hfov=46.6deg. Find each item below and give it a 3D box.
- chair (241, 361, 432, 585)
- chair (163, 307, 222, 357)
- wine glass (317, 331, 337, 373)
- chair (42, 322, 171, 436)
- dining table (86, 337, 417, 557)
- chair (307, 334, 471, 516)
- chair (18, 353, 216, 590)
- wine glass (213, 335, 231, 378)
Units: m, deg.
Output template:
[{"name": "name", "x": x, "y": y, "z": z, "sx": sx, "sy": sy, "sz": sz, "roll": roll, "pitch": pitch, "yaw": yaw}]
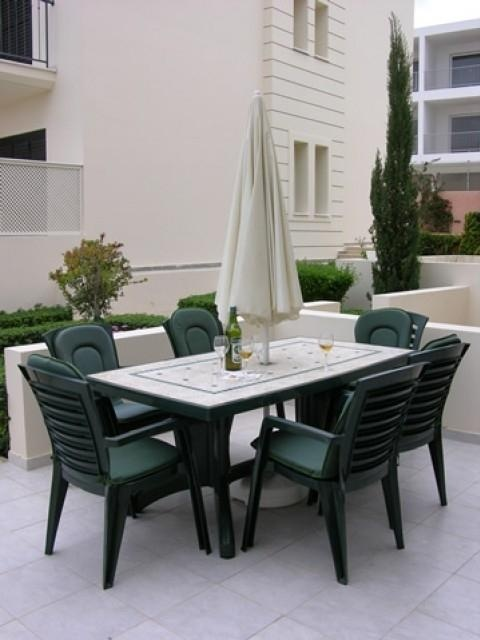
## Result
[{"name": "chair", "x": 0.386, "y": 0.565, "z": 2.340, "sx": 0.559, "sy": 0.862, "sz": 0.607, "roll": -7, "pitch": 12, "yaw": -36}, {"name": "chair", "x": -0.319, "y": 0.042, "z": 3.643, "sx": 0.286, "sy": 0.426, "sz": 0.324, "roll": -8, "pitch": 7, "yaw": -39}, {"name": "wine glass", "x": 0.450, "y": 0.175, "z": 2.922, "sx": 0.092, "sy": 0.246, "sz": 0.102, "roll": -8, "pitch": 18, "yaw": -21}, {"name": "chair", "x": -0.698, "y": 0.289, "z": 2.906, "sx": 0.565, "sy": 0.729, "sz": 0.522, "roll": 3, "pitch": 9, "yaw": 25}, {"name": "dining table", "x": 0.037, "y": 0.592, "z": 2.805, "sx": 1.315, "sy": 0.696, "sz": 0.713, "roll": 2, "pitch": 12, "yaw": -45}, {"name": "chair", "x": 0.775, "y": 0.386, "z": 2.864, "sx": 0.609, "sy": 0.990, "sz": 0.662, "roll": -12, "pitch": 15, "yaw": -41}, {"name": "chair", "x": -0.523, "y": 0.554, "z": 2.345, "sx": 0.597, "sy": 0.878, "sz": 0.519, "roll": -8, "pitch": 12, "yaw": -44}, {"name": "wine glass", "x": -0.094, "y": 0.169, "z": 2.683, "sx": 0.091, "sy": 0.185, "sz": 0.094, "roll": -2, "pitch": 0, "yaw": -28}]
